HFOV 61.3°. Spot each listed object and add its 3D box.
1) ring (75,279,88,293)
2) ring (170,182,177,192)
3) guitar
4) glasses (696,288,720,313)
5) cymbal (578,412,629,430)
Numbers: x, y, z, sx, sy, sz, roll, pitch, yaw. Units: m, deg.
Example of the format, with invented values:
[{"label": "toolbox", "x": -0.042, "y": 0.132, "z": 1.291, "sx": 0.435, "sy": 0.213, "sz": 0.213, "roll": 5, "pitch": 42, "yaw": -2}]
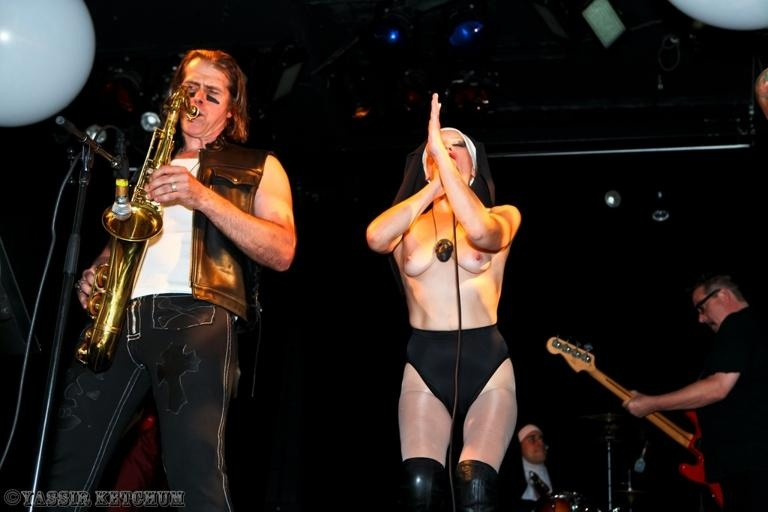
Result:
[{"label": "ring", "x": -1.554, "y": 0.153, "z": 3.329, "sx": 0.046, "sy": 0.068, "sz": 0.035, "roll": 1, "pitch": 6, "yaw": 20}, {"label": "ring", "x": -0.972, "y": -0.314, "z": 2.982, "sx": 0.021, "sy": 0.042, "sz": 0.011, "roll": -1, "pitch": -9, "yaw": -6}, {"label": "guitar", "x": 2.301, "y": 1.535, "z": 5.918, "sx": 0.696, "sy": 2.115, "sz": 0.232, "roll": -45, "pitch": 3, "yaw": 46}, {"label": "glasses", "x": 2.624, "y": 0.346, "z": 5.241, "sx": 0.042, "sy": 0.154, "sz": 0.149, "roll": 42, "pitch": -4, "yaw": 17}, {"label": "cymbal", "x": 2.092, "y": 1.544, "z": 6.065, "sx": 0.274, "sy": 0.145, "sz": 0.289, "roll": 5, "pitch": -35, "yaw": -4}]
